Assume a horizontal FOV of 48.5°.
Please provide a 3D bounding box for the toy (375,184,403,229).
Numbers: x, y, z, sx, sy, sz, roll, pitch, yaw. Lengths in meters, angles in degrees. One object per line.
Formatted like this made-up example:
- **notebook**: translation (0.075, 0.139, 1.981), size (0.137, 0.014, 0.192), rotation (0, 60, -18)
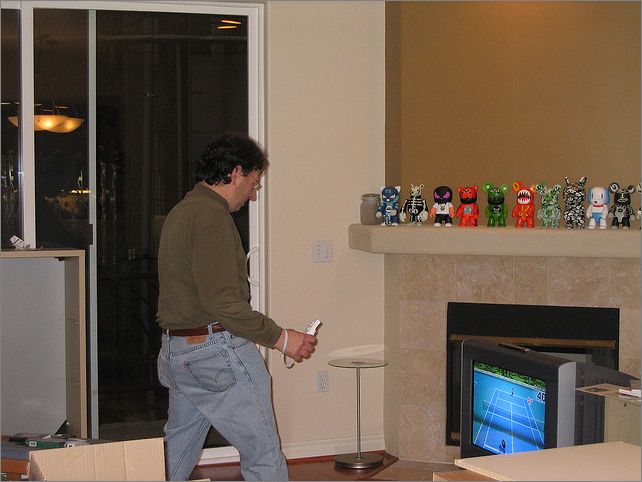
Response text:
- **toy**: translation (0.380, -0.198, 3.966), size (0.156, 0.167, 0.126), rotation (1, 0, -14)

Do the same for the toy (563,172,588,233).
- **toy**: translation (1.338, -0.199, 3.772), size (0.109, 0.271, 0.230), rotation (1, 0, 19)

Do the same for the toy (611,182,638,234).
- **toy**: translation (1.546, -0.180, 3.664), size (0.125, 0.233, 0.112), rotation (1, 0, 23)

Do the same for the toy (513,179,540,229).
- **toy**: translation (1.085, -0.200, 3.808), size (0.120, 0.267, 0.249), rotation (1, 0, 16)

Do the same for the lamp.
- **lamp**: translation (-1.452, -0.746, 3.819), size (0.242, 0.234, 0.246), rotation (5, -14, -32)

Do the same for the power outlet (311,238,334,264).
- **power outlet**: translation (-0.003, 0.058, 4.110), size (0.135, 0.148, 0.014), rotation (0, 0, -23)

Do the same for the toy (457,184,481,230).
- **toy**: translation (0.785, -0.183, 3.855), size (0.113, 0.151, 0.138), rotation (1, 0, 11)

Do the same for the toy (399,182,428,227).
- **toy**: translation (0.522, -0.205, 3.949), size (0.167, 0.168, 0.193), rotation (1, 0, 0)

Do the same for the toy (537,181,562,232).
- **toy**: translation (1.197, -0.189, 3.768), size (0.124, 0.236, 0.247), rotation (1, 0, 17)

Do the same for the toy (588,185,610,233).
- **toy**: translation (1.433, -0.170, 3.701), size (0.110, 0.215, 0.161), rotation (1, 0, 21)
